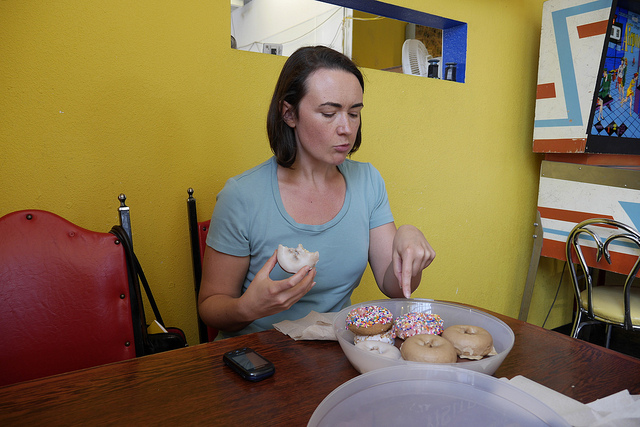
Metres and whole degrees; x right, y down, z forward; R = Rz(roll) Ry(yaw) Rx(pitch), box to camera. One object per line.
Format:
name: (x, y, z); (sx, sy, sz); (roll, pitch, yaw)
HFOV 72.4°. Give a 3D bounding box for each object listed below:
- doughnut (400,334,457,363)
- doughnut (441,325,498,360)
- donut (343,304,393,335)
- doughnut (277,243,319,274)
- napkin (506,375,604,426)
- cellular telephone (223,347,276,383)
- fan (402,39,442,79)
doughnut: (0.294, 0.382, 1.194); (0.142, 0.056, 0.112); (8, 17, 24)
doughnut: (0.436, 0.374, 1.259); (0.127, 0.056, 0.125); (-7, 8, -18)
donut: (0.147, 0.331, 1.350); (0.140, 0.049, 0.141); (-1, 15, 35)
doughnut: (-0.083, 0.154, 1.430); (0.134, 0.078, 0.121); (13, 11, -33)
napkin: (0.617, 0.490, 1.125); (0.118, 0.033, 0.122); (2, 10, -43)
cellular telephone: (-0.204, 0.433, 1.251); (0.149, 0.042, 0.078); (13, 20, 37)
fan: (0.658, -0.997, 2.833); (0.238, 0.315, 0.112); (-10, 13, -27)
